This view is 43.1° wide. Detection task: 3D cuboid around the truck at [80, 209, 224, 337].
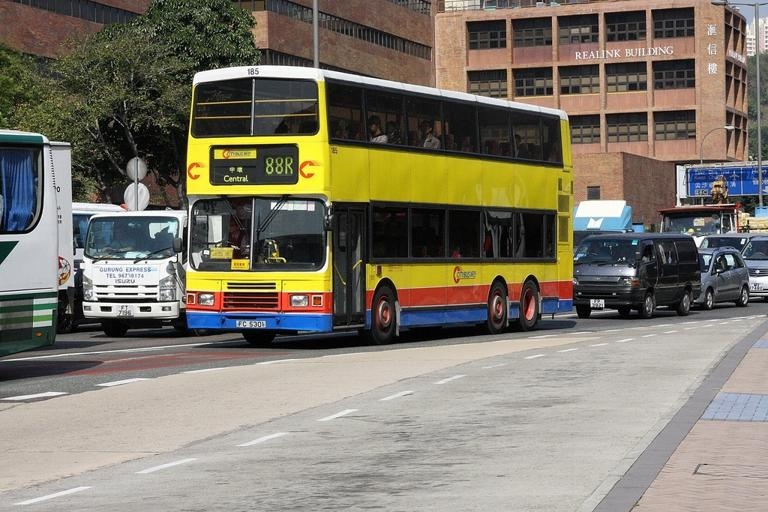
[{"bbox_3d":[-6.231,0.277,23.983,1.955,2.102,3.676,-1,-4,14],"label":"truck"}]
